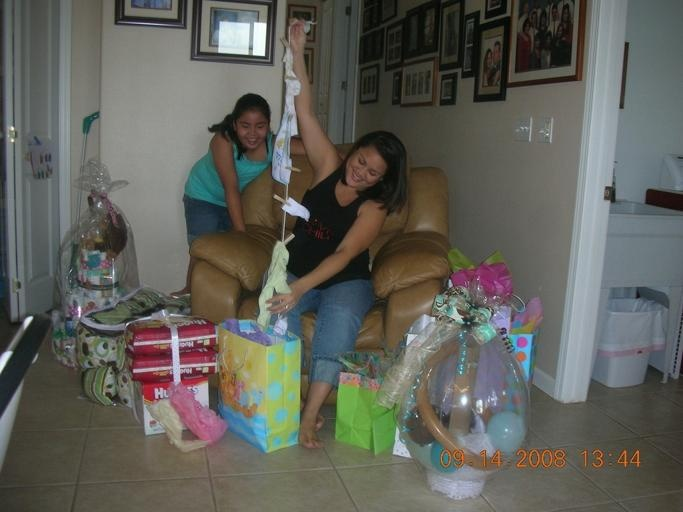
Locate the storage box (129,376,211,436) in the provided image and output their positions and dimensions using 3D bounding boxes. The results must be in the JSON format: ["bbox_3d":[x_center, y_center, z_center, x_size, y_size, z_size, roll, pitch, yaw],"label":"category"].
[{"bbox_3d":[-0.759,0.637,2.341,0.331,0.228,0.166,-3,16,-15],"label":"storage box"}]

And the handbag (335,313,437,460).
[{"bbox_3d":[0.148,0.624,2.268,0.332,0.417,0.152,9,17,28],"label":"handbag"}]

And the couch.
[{"bbox_3d":[-0.047,0.121,2.920,1.243,1.403,1.111,5,11,15],"label":"couch"}]

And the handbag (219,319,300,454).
[{"bbox_3d":[-0.345,0.527,2.326,0.405,0.462,0.402,5,3,13],"label":"handbag"}]

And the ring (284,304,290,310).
[{"bbox_3d":[-0.234,0.218,2.272,0.021,0.019,0.019,3,25,-1],"label":"ring"}]
